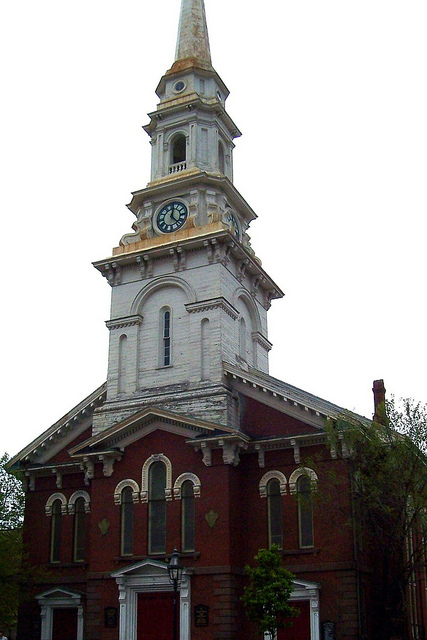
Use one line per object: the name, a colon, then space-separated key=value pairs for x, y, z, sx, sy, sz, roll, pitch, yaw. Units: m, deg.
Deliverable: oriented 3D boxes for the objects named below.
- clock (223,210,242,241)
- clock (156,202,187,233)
clock: x=0.777 y=-4.163 z=37.062 sx=0.105 sy=1.610 sz=1.642 roll=-15 pitch=-29 yaw=19
clock: x=-1.832 y=-4.501 z=37.077 sx=1.621 sy=1.602 sz=0.168 roll=-8 pitch=-32 yaw=22
